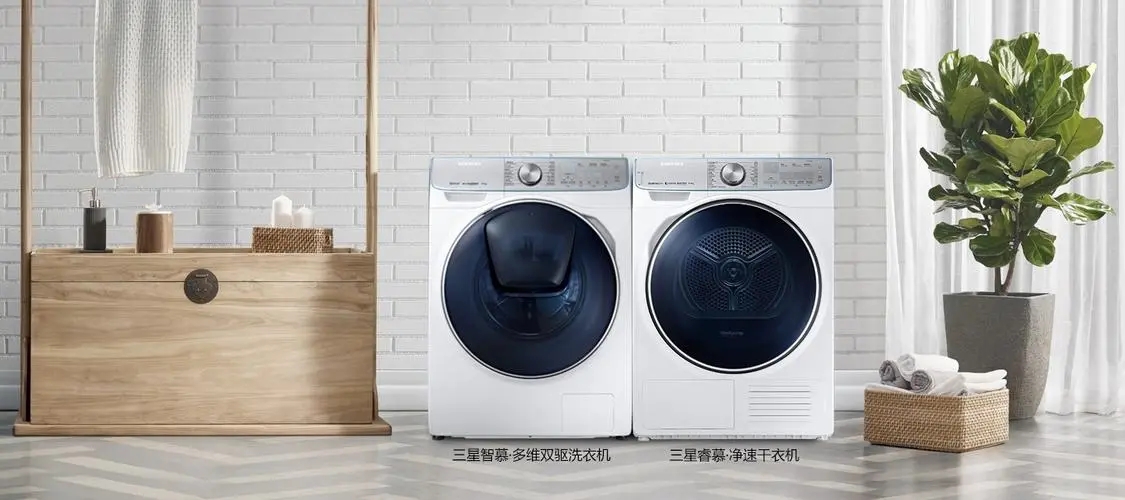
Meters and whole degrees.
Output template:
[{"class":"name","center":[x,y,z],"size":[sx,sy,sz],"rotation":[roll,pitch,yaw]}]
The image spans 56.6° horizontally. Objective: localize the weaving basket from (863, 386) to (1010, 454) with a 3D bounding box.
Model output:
[{"class":"weaving basket","center":[2.478,1.096,6.958],"size":[0.720,0.267,0.694],"rotation":[-1,0,39]}]

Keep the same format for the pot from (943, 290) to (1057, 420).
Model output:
[{"class":"pot","center":[3.299,0.799,7.379],"size":[0.891,0.838,0.735],"rotation":[9,-12,-30]}]

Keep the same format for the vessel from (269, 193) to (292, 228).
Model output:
[{"class":"vessel","center":[-1.880,-0.258,6.990],"size":[0.123,0.217,0.095],"rotation":[-1,-2,-18]}]

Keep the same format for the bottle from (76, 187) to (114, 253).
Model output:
[{"class":"bottle","center":[-3.190,-0.204,7.124],"size":[0.157,0.451,0.380],"rotation":[-1,-1,-23]}]
